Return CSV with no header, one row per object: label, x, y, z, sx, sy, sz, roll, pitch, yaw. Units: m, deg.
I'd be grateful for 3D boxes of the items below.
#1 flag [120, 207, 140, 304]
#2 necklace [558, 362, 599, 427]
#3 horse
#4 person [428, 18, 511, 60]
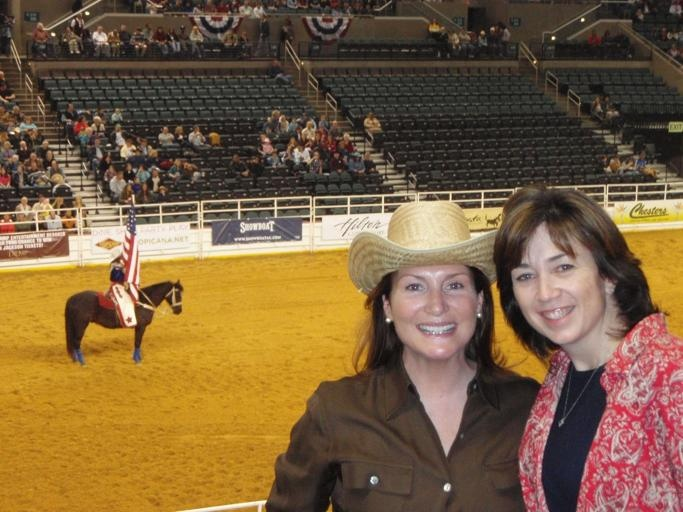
flag,-5.155,-0.182,32.453,0.412,2.554,0.315,12,28,9
necklace,4.323,2.477,24.340,0.419,1.476,0.115,23,-7,23
horse,-5.410,1.667,33.307,3.001,2.260,0.779,0,13,-12
person,5.351,-8.200,53.014,3.179,1.675,0.831,2,17,13
